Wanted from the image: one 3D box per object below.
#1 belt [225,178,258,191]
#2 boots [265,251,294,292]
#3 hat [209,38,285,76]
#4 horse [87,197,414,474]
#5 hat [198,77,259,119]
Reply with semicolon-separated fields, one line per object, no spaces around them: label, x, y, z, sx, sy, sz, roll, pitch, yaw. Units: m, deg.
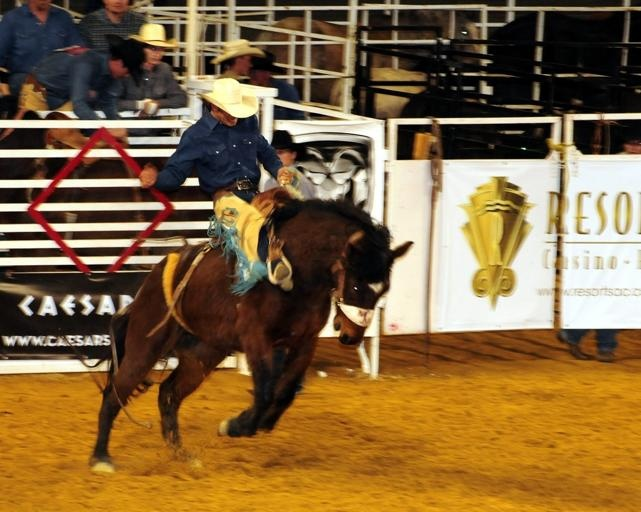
belt;-0.630;-0.567;8.792;0.204;0.049;0.127;-3;-6;-15
boots;-0.303;0.123;7.831;0.204;0.255;0.103;4;15;7
hat;-0.732;-2.100;11.469;0.713;0.200;0.568;7;2;-23
horse;-0.615;0.638;8.526;1.007;2.087;3.339;11;-12;-40
hat;-0.727;-1.277;8.702;0.419;0.176;0.517;-7;18;-23
